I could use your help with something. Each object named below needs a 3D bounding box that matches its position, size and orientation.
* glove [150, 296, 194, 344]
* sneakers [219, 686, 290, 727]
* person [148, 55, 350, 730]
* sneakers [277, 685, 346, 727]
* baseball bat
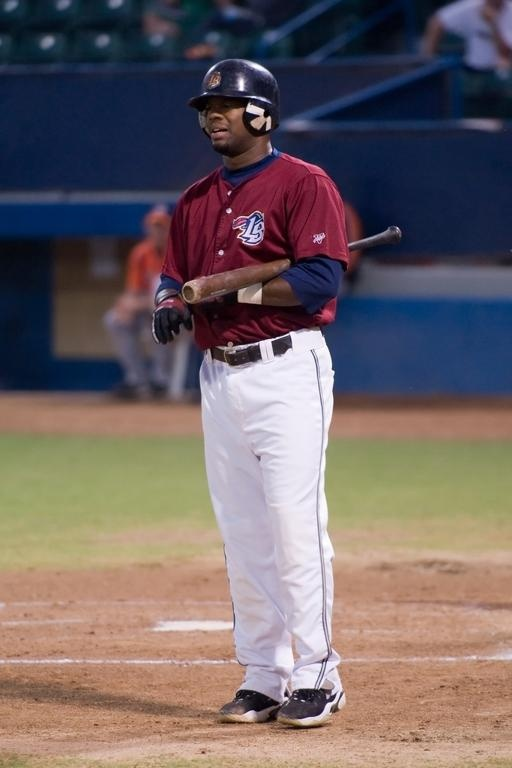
[{"bbox_3d":[-0.182,-0.168,2.977,0.129,0.107,0.060,-27,-34,35],"label":"glove"},{"bbox_3d":[-0.010,0.788,2.915,0.195,0.066,0.064,10,-16,-39],"label":"sneakers"},{"bbox_3d":[-0.023,0.027,2.932,0.481,1.636,0.453,0,9,3],"label":"person"},{"bbox_3d":[0.134,0.773,2.876,0.067,0.067,0.196,1,-2,40],"label":"sneakers"},{"bbox_3d":[0.057,-0.282,2.951,0.201,0.169,0.669,6,9,40],"label":"baseball bat"}]
